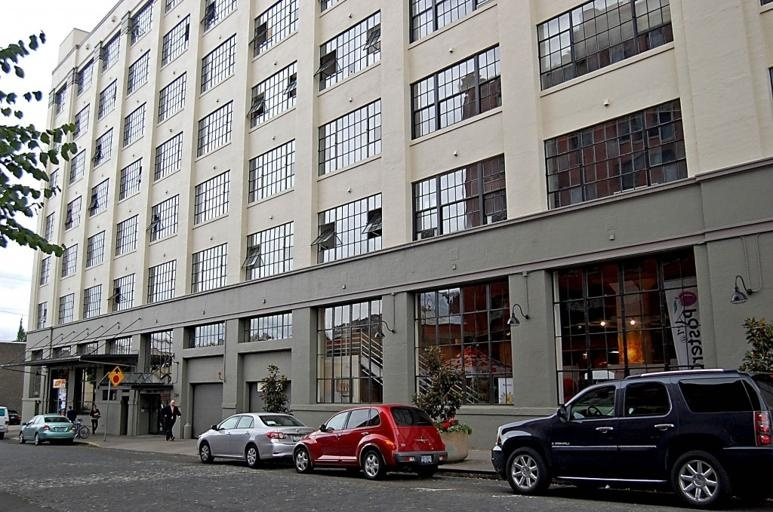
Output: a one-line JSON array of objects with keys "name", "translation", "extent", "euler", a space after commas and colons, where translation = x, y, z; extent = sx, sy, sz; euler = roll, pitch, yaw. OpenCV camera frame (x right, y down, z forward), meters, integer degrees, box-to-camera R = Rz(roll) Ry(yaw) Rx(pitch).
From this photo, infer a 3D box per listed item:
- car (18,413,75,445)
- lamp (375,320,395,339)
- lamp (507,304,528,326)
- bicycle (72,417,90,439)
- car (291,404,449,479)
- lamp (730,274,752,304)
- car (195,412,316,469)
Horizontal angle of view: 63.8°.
[{"name": "car", "translation": [-19.941, 10.221, 36.736], "extent": [3.836, 1.768, 1.748], "euler": [-16, -20, 39]}, {"name": "lamp", "translation": [-0.078, 3.300, 28.056], "extent": [0.955, 0.747, 0.573], "euler": [0, -7, -8]}, {"name": "lamp", "translation": [4.910, 2.192, 23.505], "extent": [0.568, 0.840, 0.954], "euler": [12, -21, -40]}, {"name": "bicycle", "translation": [-19.287, 10.973, 39.218], "extent": [0.810, 1.100, 1.733], "euler": [6, -18, -26]}, {"name": "car", "translation": [-0.524, 5.668, 19.551], "extent": [3.802, 1.588, 2.346], "euler": [-11, -21, 38]}, {"name": "lamp", "translation": [10.647, 0.942, 18.748], "extent": [0.759, 0.884, 0.582], "euler": [11, -20, -39]}, {"name": "car", "translation": [-4.912, 6.632, 23.076], "extent": [4.257, 1.455, 1.953], "euler": [-12, -17, 44]}]
